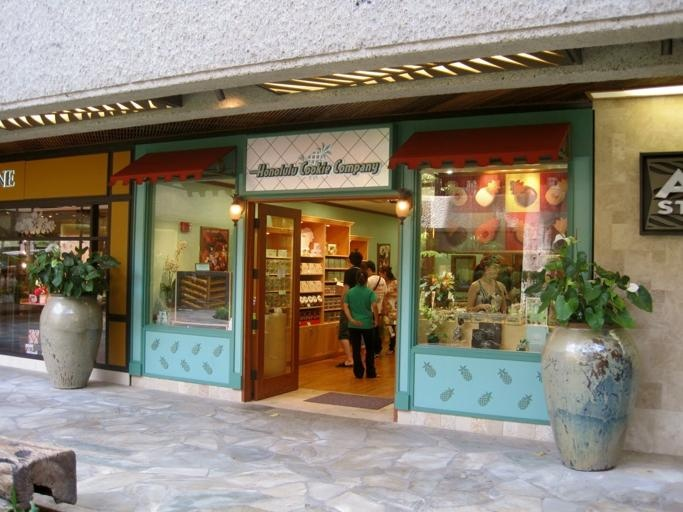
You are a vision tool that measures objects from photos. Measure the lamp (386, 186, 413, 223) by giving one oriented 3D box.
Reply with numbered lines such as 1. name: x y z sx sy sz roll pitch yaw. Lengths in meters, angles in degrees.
1. lamp: 0.734 -0.603 6.875 0.266 0.379 0.477 2 1 5

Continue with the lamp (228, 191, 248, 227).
1. lamp: -1.373 -0.626 7.569 0.209 0.323 0.175 2 1 -10

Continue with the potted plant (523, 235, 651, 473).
1. potted plant: 2.289 0.907 5.554 0.808 2.229 0.880 2 1 -24

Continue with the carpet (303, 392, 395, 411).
1. carpet: 0.153 1.947 7.733 1.066 0.033 0.754 2 1 25

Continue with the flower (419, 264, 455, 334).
1. flower: 1.129 0.571 6.732 0.385 0.770 0.083 2 1 29
